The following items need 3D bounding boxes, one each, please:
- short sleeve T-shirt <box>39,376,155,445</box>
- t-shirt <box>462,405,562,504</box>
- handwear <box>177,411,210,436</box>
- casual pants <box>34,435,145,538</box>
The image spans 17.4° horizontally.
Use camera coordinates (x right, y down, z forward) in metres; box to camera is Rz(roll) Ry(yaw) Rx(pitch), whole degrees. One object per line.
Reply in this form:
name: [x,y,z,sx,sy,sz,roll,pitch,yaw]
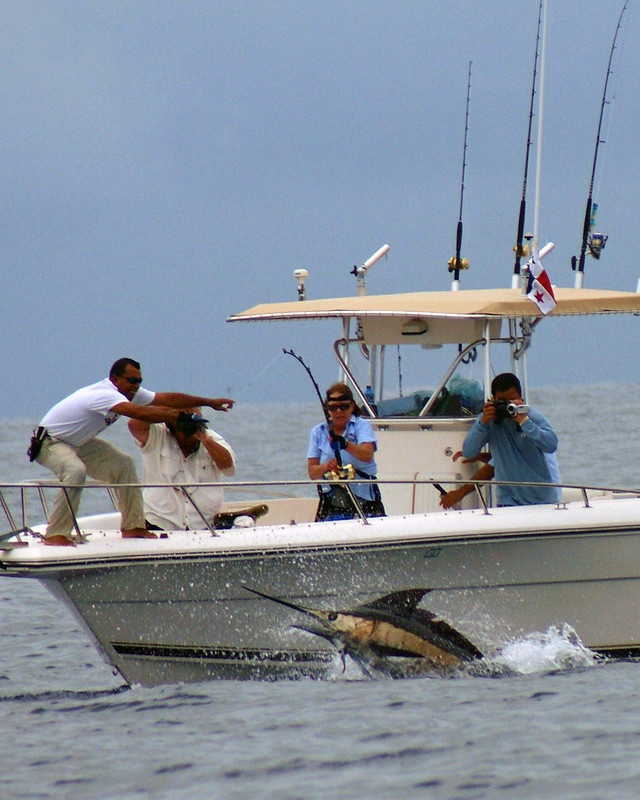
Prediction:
short sleeve T-shirt: [-1.258,0.073,11.679,0.631,0.379,0.532,13,4,-6]
t-shirt: [1.149,0.357,12.429,0.551,0.647,0.418,-2,-5,21]
handwear: [-0.708,0.146,11.906,0.173,0.106,0.149,32,-9,22]
casual pants: [-1.317,0.485,11.749,0.414,0.592,0.627,4,9,43]
